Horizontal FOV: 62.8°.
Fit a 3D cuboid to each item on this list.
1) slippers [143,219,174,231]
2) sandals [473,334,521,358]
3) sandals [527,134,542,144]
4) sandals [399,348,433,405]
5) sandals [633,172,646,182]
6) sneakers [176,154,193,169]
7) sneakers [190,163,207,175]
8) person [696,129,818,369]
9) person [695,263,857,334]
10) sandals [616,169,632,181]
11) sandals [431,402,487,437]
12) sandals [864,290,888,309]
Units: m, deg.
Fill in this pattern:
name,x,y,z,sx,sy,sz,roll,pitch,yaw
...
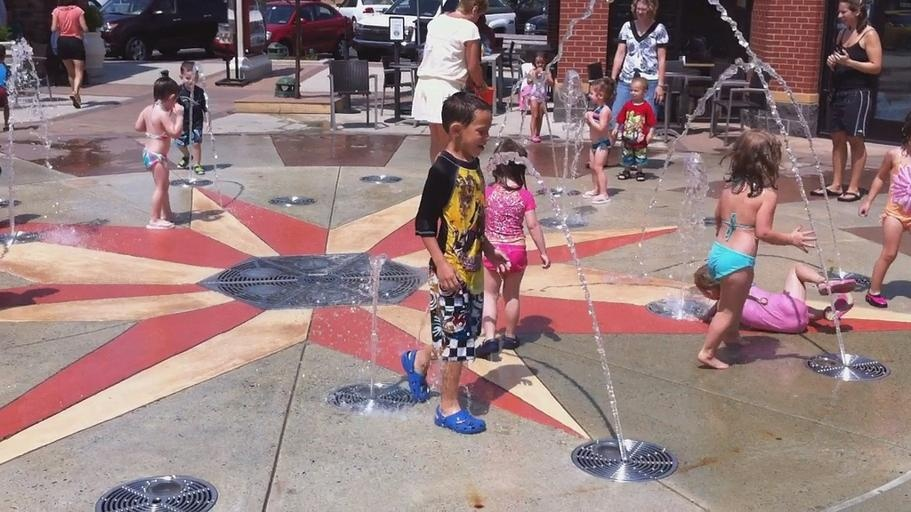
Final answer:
name,x,y,z,sx,sy,sz,roll,pitch,yaw
slippers,-3.737,-0.377,9.394,0.360,0.118,0.128,-1,6,-8
sandals,0.382,0.866,7.031,0.168,0.155,0.461,-7,-7,39
sandals,1.507,-2.253,14.450,0.218,0.089,0.371,-4,16,-5
sandals,-0.337,1.049,6.436,0.206,0.443,0.224,-12,11,28
sandals,2.895,-1.243,11.812,0.201,0.198,0.563,-1,4,14
sneakers,-4.315,-1.471,11.763,0.196,0.129,0.336,1,10,2
sneakers,-4.023,-1.339,11.572,0.224,0.196,0.559,-5,8,-34
person,2.650,-0.041,6.817,0.730,2.141,0.661,3,17,10
person,3.150,0.440,7.568,1.496,0.530,0.542,-1,12,33
sandals,2.668,-1.294,11.909,0.274,0.137,0.130,-4,9,-22
sandals,0.017,1.368,6.160,0.375,0.129,0.197,3,7,14
sandals,4.414,0.467,7.891,0.136,0.084,0.240,-12,20,-26
